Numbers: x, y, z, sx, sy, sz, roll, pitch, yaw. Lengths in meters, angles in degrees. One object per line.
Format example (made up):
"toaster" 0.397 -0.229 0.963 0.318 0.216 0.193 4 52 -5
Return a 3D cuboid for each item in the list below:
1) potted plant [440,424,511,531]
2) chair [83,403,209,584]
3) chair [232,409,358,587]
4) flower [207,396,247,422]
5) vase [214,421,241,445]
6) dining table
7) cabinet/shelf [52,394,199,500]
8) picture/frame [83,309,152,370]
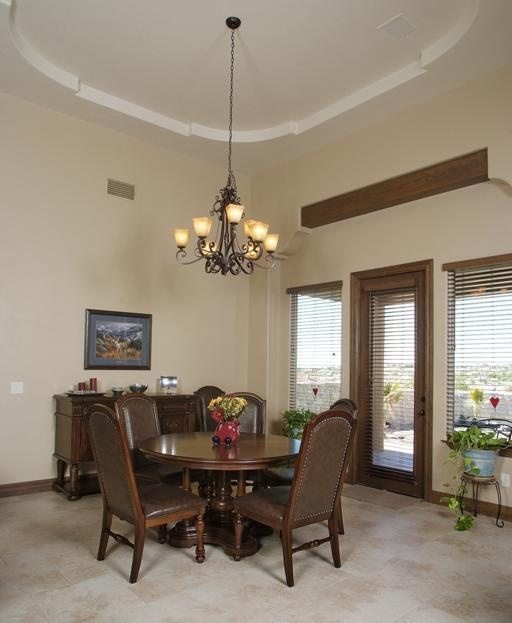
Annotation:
"potted plant" 1.751 1.284 3.990 0.413 0.735 0.531 8 -10 -44
"chair" -0.615 0.995 2.843 0.687 0.918 0.552 4 -8 -26
"chair" 0.256 1.018 2.868 0.498 0.914 0.615 6 -8 -35
"flower" -0.211 0.644 3.484 0.241 0.157 0.235 4 -5 -28
"vase" -0.179 0.829 3.361 0.170 0.151 0.133 8 -14 -19
"dining table" -0.241 1.246 3.386 0.985 0.589 0.977 5 -28 -22
"cabinet/shelf" -1.237 1.273 4.909 1.341 0.833 0.463 6 -9 -39
"picture/frame" -1.484 0.295 5.196 0.673 0.549 0.050 4 -7 -38
